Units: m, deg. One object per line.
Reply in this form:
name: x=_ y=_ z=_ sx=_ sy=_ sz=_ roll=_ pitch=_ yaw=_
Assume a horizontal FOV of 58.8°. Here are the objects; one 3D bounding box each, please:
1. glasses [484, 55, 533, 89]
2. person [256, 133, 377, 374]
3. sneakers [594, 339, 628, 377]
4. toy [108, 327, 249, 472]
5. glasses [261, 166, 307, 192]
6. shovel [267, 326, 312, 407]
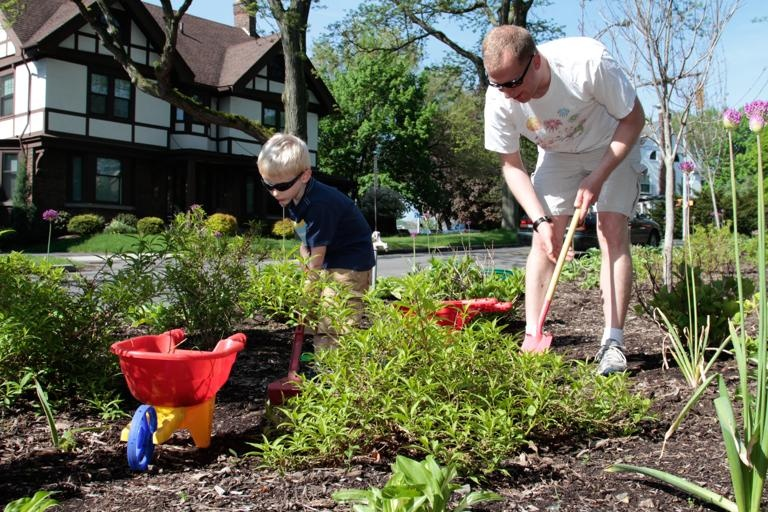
glasses: x=0.805 y=-1.218 z=4.407 sx=0.067 sy=0.223 sz=0.209 roll=45 pitch=-24 yaw=-19
person: x=-0.443 y=-0.109 z=4.825 sx=0.881 sy=1.525 sz=0.747 roll=1 pitch=-1 yaw=-17
sneakers: x=1.520 y=0.678 z=4.548 sx=0.207 sy=0.225 sz=0.269 roll=1 pitch=0 yaw=20
toy: x=-1.230 y=0.841 z=4.112 sx=0.652 sy=0.673 sz=1.124 roll=2 pitch=1 yaw=1
glasses: x=-0.693 y=-0.566 z=4.753 sx=0.170 sy=0.054 sz=0.185 roll=-10 pitch=19 yaw=36
shovel: x=-0.616 y=0.685 z=4.277 sx=0.205 sy=0.317 sz=0.580 roll=1 pitch=0 yaw=-6
